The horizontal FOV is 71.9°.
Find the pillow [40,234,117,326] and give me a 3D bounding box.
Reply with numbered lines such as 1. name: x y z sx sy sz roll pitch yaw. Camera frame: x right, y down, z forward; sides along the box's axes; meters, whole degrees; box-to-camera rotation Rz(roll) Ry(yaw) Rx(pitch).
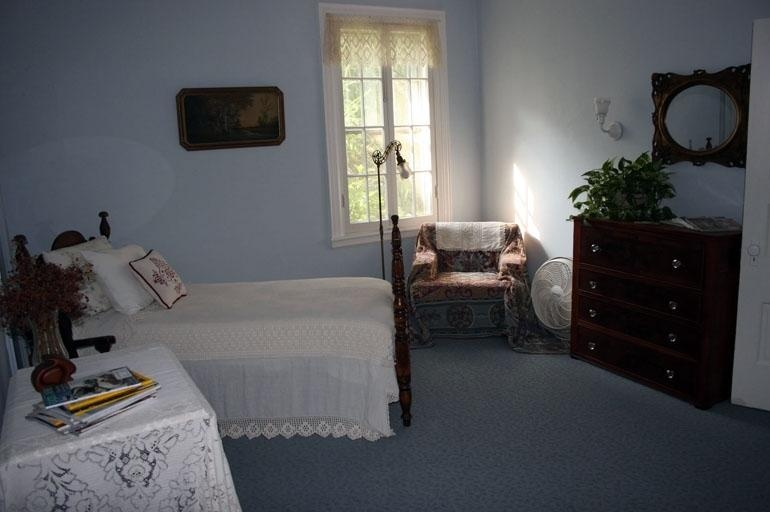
1. pillow: -2.593 0.235 4.453 0.198 0.738 0.639 -16 3 36

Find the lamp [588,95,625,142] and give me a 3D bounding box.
1. lamp: 2.092 -1.310 5.094 0.315 0.421 0.292 6 15 41

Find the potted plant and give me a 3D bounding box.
1. potted plant: 2.196 -0.535 4.885 0.668 0.517 0.749 0 8 31

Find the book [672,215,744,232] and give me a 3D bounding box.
1. book: 2.649 -0.265 4.387 0.537 0.093 0.378 -1 13 17

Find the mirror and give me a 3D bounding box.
1. mirror: 2.711 -1.204 4.552 0.931 1.056 0.074 6 12 44

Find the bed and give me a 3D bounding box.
1. bed: -1.164 0.864 4.804 2.715 1.929 1.756 -4 25 -4

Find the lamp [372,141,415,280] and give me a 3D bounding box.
1. lamp: 0.047 -0.537 5.705 0.591 0.434 1.923 -4 51 -1

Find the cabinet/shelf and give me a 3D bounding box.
1. cabinet/shelf: 2.344 0.481 4.522 0.838 1.652 1.333 -5 9 -31

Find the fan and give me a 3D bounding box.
1. fan: 1.814 0.366 5.572 0.162 0.745 0.734 20 38 -11

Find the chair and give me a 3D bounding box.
1. chair: 0.908 0.250 5.915 1.356 1.251 1.137 -1 4 11
